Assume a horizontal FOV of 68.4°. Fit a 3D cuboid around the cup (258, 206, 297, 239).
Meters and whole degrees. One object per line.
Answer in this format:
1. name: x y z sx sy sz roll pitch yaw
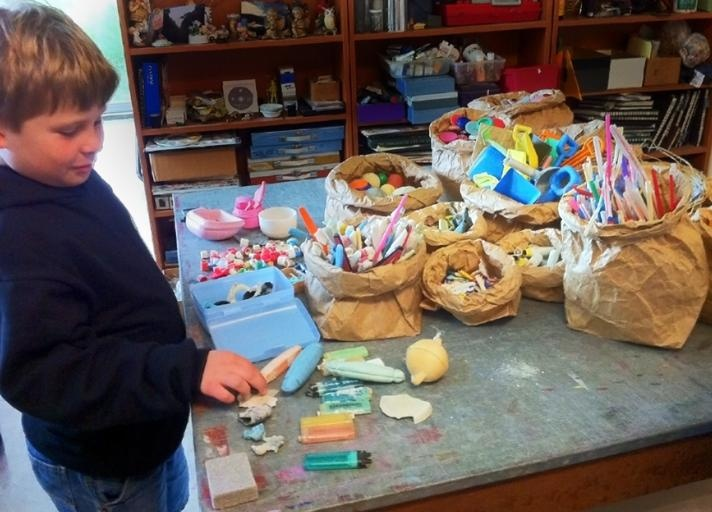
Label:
1. cup: -0.247 -0.085 1.668 0.107 0.066 0.112 -2 33 1
